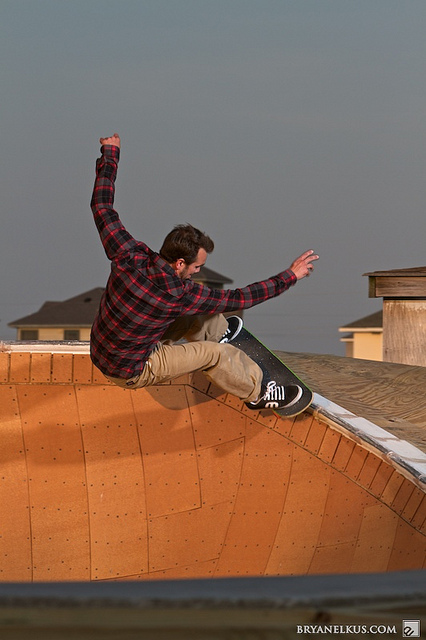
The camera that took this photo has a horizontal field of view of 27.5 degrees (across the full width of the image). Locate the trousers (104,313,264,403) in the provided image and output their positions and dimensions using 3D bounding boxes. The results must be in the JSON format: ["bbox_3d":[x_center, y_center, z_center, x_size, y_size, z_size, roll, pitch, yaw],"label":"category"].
[{"bbox_3d":[-0.132,0.256,5.914,0.699,0.630,1.044,-3,-4,22],"label":"trousers"}]

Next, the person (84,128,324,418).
[{"bbox_3d":[-0.079,-0.207,5.690,1.619,1.519,0.991,3,10,-23],"label":"person"}]
